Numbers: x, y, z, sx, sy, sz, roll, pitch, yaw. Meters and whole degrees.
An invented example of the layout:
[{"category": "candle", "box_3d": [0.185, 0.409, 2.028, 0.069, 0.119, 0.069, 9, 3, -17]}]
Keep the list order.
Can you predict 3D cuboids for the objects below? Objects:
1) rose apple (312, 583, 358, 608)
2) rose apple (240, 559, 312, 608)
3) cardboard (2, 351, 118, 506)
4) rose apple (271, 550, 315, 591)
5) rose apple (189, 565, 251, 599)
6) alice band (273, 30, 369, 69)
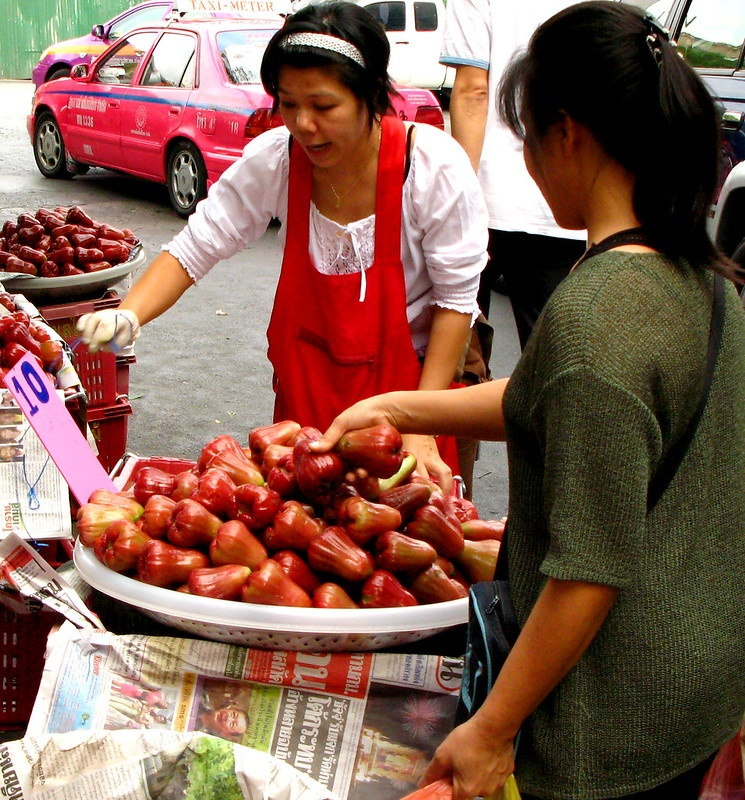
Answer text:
[{"category": "rose apple", "box_3d": [-0.072, 0.382, 1.365, 0.071, 0.029, 0.043, 26, 44, 0]}, {"category": "rose apple", "box_3d": [-0.179, 0.362, 1.343, 0.132, 0.069, 0.101, 8, 35, 8]}, {"category": "cardboard", "box_3d": [-0.751, 0.050, 1.849, 0.337, 0.352, 0.279, -18, 33, -36]}, {"category": "rose apple", "box_3d": [-0.152, 0.341, 1.414, 0.102, 0.045, 0.050, 37, -5, -13]}, {"category": "rose apple", "box_3d": [-0.295, 0.351, 1.367, 0.102, 0.039, 0.058, 5, 39, 6]}, {"category": "alice band", "box_3d": [-0.123, -0.892, 1.796, 0.217, 0.081, 0.089, -1, 35, -5]}]
